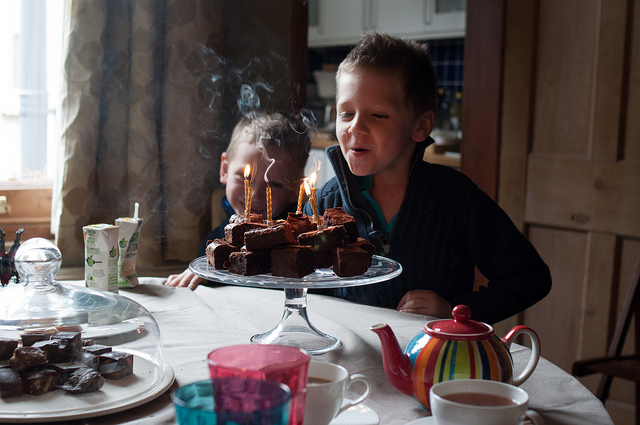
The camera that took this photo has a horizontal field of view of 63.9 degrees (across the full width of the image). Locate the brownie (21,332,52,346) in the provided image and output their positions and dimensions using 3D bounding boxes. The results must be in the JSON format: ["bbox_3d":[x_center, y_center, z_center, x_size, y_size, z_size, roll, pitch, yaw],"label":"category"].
[{"bbox_3d":[-0.563,0.246,1.014,0.031,0.022,0.032,0,3,-2],"label":"brownie"}]

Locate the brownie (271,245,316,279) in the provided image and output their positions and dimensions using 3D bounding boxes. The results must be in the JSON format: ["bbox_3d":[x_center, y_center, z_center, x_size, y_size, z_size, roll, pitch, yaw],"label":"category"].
[{"bbox_3d":[-0.063,0.116,1.302,0.081,0.072,0.083,1,2,35],"label":"brownie"}]

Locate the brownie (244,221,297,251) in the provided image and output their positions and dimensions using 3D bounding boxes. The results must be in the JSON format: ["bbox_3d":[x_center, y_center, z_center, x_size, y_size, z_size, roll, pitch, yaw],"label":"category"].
[{"bbox_3d":[-0.128,0.060,1.339,0.122,0.061,0.097,-13,6,7],"label":"brownie"}]

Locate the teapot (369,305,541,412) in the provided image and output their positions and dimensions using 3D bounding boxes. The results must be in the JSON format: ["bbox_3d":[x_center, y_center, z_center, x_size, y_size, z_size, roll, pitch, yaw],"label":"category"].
[{"bbox_3d":[0.284,0.289,1.033,0.332,0.198,0.231,-1,-1,4],"label":"teapot"}]

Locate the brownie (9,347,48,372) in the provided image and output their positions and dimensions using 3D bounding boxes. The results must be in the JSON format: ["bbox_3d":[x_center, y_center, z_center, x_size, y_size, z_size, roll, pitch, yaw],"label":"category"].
[{"bbox_3d":[-0.549,0.275,0.968,0.046,0.044,0.061,-5,-12,40],"label":"brownie"}]

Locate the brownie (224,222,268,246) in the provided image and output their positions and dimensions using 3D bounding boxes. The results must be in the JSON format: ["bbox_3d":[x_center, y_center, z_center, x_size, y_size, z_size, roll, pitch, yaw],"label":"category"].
[{"bbox_3d":[-0.204,0.047,1.376,0.085,0.043,0.066,-3,7,-23],"label":"brownie"}]

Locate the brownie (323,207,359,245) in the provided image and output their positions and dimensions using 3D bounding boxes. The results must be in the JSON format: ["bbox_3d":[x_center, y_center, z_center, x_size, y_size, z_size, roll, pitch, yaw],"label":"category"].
[{"bbox_3d":[0.073,0.043,1.438,0.091,0.063,0.090,-6,35,-35],"label":"brownie"}]

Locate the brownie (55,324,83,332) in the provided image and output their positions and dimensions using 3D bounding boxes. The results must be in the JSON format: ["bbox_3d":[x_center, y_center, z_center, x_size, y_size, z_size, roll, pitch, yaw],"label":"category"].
[{"bbox_3d":[-0.525,0.242,1.077,0.049,0.017,0.018,-5,12,-28],"label":"brownie"}]

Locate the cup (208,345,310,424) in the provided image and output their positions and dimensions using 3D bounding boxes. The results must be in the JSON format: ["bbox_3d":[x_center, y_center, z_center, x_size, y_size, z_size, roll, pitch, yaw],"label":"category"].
[{"bbox_3d":[-0.093,0.230,0.781,0.125,0.108,0.143,1,-4,-3],"label":"cup"}]

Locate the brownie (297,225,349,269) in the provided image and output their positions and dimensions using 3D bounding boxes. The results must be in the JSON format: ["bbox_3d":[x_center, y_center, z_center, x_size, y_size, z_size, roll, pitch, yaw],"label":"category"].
[{"bbox_3d":[0.008,0.085,1.318,0.111,0.080,0.113,-6,-2,5],"label":"brownie"}]

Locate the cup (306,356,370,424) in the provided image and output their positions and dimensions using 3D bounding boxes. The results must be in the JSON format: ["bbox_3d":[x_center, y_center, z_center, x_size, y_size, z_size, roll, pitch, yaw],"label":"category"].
[{"bbox_3d":[0.034,0.322,0.951,0.144,0.099,0.093,8,-6,-27],"label":"cup"}]

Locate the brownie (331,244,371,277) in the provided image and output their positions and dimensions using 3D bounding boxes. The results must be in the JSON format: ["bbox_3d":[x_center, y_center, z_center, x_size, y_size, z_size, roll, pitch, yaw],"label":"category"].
[{"bbox_3d":[0.078,0.118,1.290,0.095,0.064,0.098,2,11,8],"label":"brownie"}]

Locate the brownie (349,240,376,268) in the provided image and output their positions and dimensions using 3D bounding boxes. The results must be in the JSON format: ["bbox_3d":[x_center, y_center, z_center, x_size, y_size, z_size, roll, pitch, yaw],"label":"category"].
[{"bbox_3d":[0.115,0.108,1.351,0.064,0.059,0.066,4,-4,-3],"label":"brownie"}]

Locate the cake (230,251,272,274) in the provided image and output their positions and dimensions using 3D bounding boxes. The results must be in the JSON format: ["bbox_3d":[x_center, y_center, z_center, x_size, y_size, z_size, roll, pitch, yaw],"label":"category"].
[{"bbox_3d":[-0.170,0.109,1.281,0.054,0.035,0.075,3,4,43],"label":"cake"}]

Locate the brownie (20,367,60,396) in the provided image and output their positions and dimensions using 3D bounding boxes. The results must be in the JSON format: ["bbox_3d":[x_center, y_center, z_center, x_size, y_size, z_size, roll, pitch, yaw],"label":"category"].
[{"bbox_3d":[-0.528,0.317,0.968,0.051,0.046,0.049,3,0,-38],"label":"brownie"}]

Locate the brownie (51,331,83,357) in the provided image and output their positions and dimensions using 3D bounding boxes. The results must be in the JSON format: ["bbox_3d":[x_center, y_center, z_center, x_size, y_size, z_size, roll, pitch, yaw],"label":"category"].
[{"bbox_3d":[-0.510,0.259,1.037,0.056,0.037,0.056,3,11,8],"label":"brownie"}]

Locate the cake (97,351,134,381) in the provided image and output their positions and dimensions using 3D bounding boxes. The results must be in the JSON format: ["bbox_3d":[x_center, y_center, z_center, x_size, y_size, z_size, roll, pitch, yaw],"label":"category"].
[{"bbox_3d":[-0.405,0.301,1.019,0.052,0.042,0.053,7,4,24],"label":"cake"}]

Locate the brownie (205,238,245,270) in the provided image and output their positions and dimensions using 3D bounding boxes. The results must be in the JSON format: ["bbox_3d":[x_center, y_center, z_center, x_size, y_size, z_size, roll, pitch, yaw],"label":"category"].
[{"bbox_3d":[-0.253,0.096,1.370,0.091,0.063,0.072,-4,9,-41],"label":"brownie"}]
